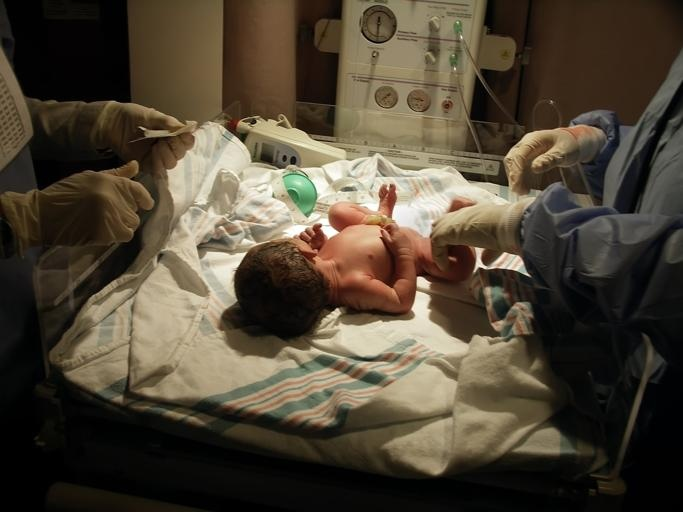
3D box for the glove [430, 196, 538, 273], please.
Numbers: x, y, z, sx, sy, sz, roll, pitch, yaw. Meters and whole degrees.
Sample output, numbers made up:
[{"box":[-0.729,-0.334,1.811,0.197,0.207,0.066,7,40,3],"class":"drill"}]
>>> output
[{"box":[0.382,-0.054,1.624,0.209,0.089,0.202,3,47,37],"class":"glove"}]
